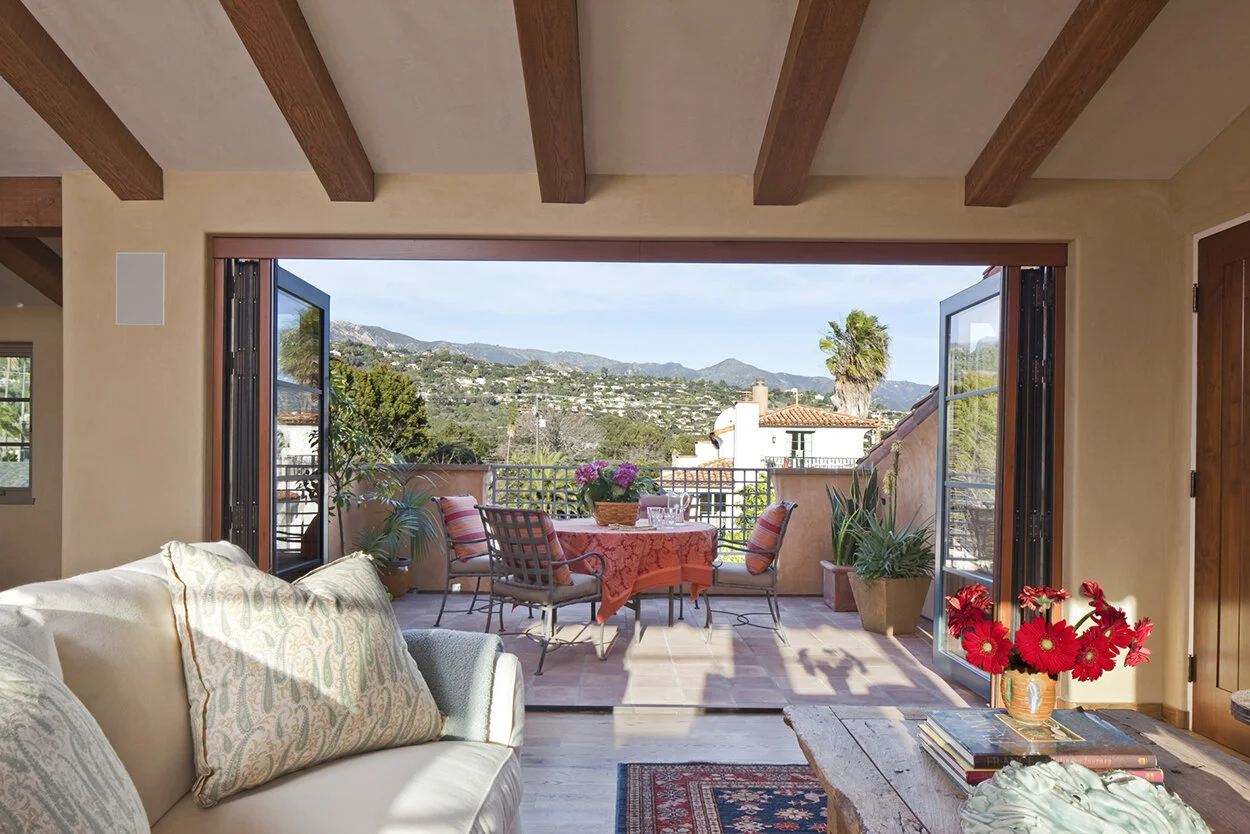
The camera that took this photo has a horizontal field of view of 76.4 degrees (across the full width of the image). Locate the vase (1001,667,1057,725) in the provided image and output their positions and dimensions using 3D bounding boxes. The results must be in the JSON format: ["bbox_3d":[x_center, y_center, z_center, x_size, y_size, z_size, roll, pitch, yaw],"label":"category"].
[{"bbox_3d":[1.369,0.962,2.759,0.191,0.182,0.186,3,-10,-8],"label":"vase"}]

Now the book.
[{"bbox_3d":[1.383,1.123,2.700,0.687,0.167,0.335,1,2,2],"label":"book"}]

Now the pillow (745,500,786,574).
[{"bbox_3d":[1.069,0.921,6.032,0.306,0.530,0.240,1,3,10],"label":"pillow"}]

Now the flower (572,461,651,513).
[{"bbox_3d":[-0.131,0.558,6.115,0.395,0.265,0.389,1,-11,-1],"label":"flower"}]

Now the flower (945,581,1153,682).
[{"bbox_3d":[1.448,0.797,2.848,0.595,0.238,0.634,-5,1,-34],"label":"flower"}]

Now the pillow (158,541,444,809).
[{"bbox_3d":[-1.117,0.900,2.674,0.793,0.660,0.377,5,-8,-45],"label":"pillow"}]

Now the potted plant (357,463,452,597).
[{"bbox_3d":[-2.124,1.061,7.689,1.032,1.209,1.206,1,-3,-29],"label":"potted plant"}]

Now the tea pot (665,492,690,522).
[{"bbox_3d":[0.395,0.705,6.137,0.182,0.205,0.180,0,-15,0],"label":"tea pot"}]

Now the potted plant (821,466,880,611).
[{"bbox_3d":[2.085,1.184,7.222,0.517,1.183,0.552,7,-6,-1],"label":"potted plant"}]

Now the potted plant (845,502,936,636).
[{"bbox_3d":[2.130,1.253,6.330,0.853,0.971,0.811,2,-6,-13],"label":"potted plant"}]
